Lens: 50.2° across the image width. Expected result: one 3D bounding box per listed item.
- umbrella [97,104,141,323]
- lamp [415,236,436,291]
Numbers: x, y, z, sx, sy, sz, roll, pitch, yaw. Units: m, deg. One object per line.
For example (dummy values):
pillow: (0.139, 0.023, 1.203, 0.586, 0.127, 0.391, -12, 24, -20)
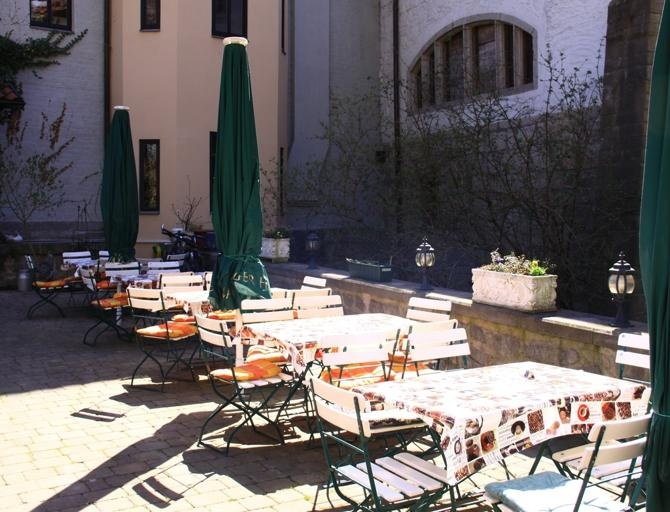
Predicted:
umbrella: (-3.468, -0.839, 11.613, 0.488, 3.123, 0.510, 1, 1, 33)
lamp: (1.092, 0.085, 8.877, 0.254, 0.604, 0.249, 0, 5, 20)
